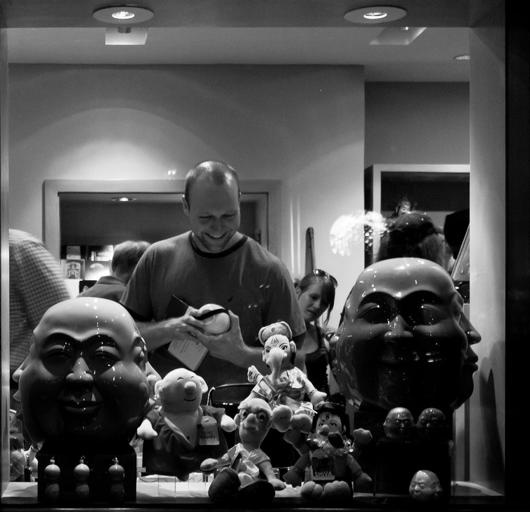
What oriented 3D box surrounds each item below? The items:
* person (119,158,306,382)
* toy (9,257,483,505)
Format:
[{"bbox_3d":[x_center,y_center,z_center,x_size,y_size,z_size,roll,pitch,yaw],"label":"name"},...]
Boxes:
[{"bbox_3d":[-0.153,0.154,1.595,0.414,0.784,0.383,2,4,4],"label":"person"},{"bbox_3d":[-0.026,0.250,1.337,0.963,0.500,0.201,0,-4,-5],"label":"toy"}]
